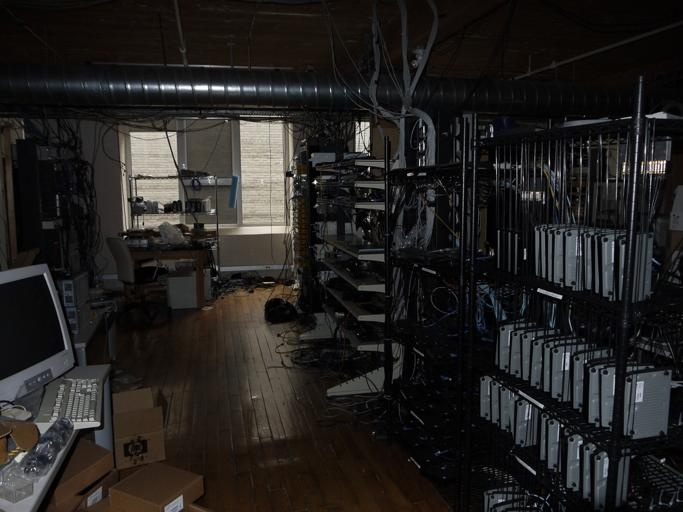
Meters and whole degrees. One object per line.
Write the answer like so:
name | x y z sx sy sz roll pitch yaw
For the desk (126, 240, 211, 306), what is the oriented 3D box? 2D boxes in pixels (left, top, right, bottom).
desk | -2.276 0.225 7.888 0.949 0.736 0.783 8 -7 -18

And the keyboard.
keyboard | -1.435 0.866 3.200 0.280 0.553 0.039 11 20 -18

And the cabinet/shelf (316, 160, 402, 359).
cabinet/shelf | 0.343 0.151 5.773 0.353 1.310 2.005 -2 -14 5
